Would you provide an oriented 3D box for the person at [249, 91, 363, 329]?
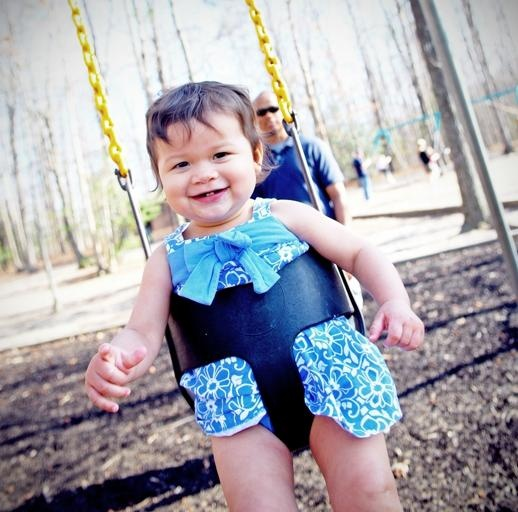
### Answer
[{"bbox_3d":[0.219,-0.115,2.393,0.404,1.385,0.617,5,15,11],"label":"person"}]
